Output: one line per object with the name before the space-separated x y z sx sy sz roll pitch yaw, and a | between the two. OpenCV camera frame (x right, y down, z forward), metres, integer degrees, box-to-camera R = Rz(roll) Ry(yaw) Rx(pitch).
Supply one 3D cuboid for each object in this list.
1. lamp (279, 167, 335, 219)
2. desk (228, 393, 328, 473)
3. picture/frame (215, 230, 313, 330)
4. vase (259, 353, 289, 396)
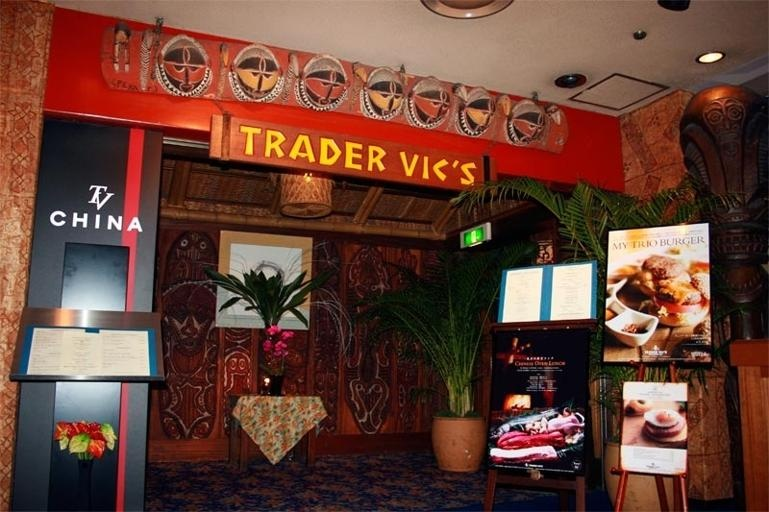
lamp | -0.810 -0.611 6.240 0.485 0.476 0.476 -4 -16 12
desk | -1.139 1.658 6.400 1.152 0.740 0.701 3 -12 -19
picture/frame | -1.487 0.299 7.073 1.243 1.188 0.052 5 -17 -19
vase | -1.191 1.303 6.502 0.275 0.380 0.329 10 -10 -36
